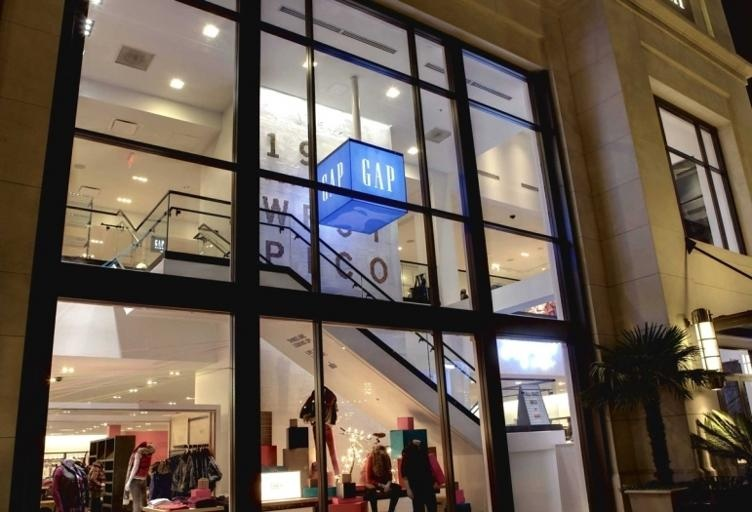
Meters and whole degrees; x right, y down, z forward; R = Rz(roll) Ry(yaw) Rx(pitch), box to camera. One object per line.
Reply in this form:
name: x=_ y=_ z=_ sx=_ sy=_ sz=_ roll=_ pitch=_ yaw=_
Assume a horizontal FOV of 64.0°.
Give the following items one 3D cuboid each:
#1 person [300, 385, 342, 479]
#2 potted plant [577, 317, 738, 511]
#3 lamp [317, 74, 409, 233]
person: x=-0.703 y=2.329 z=8.000 sx=0.309 sy=1.121 sz=0.606 roll=-16 pitch=-22 yaw=30
potted plant: x=4.266 y=2.170 z=9.280 sx=1.714 sy=2.561 sz=1.446 roll=8 pitch=-23 yaw=-31
lamp: x=-0.296 y=-1.715 z=9.443 sx=1.449 sy=2.717 sz=0.621 roll=9 pitch=-23 yaw=-33
